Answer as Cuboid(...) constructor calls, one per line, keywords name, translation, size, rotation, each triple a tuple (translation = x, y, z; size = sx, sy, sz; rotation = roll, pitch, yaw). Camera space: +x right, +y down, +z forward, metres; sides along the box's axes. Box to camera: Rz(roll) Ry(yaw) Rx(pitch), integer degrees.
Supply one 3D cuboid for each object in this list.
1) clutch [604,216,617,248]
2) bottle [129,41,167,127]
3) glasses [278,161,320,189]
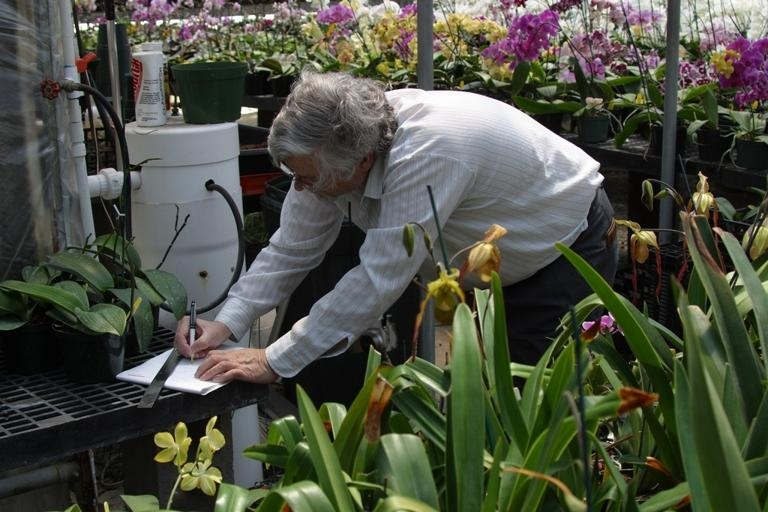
Cuboid(name="clutch", translation=(0.815, -0.087, 2.308), size=(0.034, 0.096, 0.071), rotation=(12, 40, 27))
Cuboid(name="bottle", translation=(-0.935, -0.680, 2.550), size=(0.118, 0.323, 0.217), rotation=(-3, 12, -21))
Cuboid(name="glasses", translation=(-0.256, -0.257, 2.027), size=(0.087, 0.031, 0.093), rotation=(31, 4, 35))
